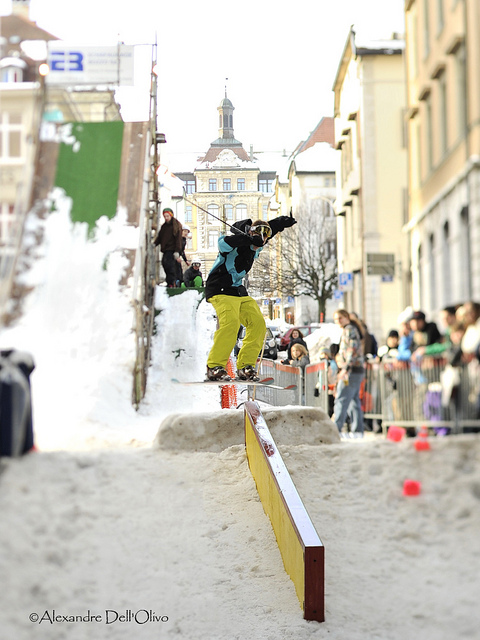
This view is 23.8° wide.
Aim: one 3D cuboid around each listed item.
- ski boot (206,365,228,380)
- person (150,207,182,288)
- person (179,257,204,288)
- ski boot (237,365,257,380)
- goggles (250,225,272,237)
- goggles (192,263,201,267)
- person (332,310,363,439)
[{"bbox_3d":[-0.247,0.542,11.669,0.211,0.142,0.130,3,-3,3],"label":"ski boot"},{"bbox_3d":[-1.219,-1.190,18.826,0.460,1.285,0.392,3,-3,-6],"label":"person"},{"bbox_3d":[-0.926,-0.888,21.710,0.351,0.547,1.006,3,-3,-1],"label":"person"},{"bbox_3d":[0.059,0.538,11.710,0.162,0.199,0.105,-11,19,10],"label":"ski boot"},{"bbox_3d":[0.228,-0.872,11.151,0.157,0.089,0.309,1,-4,38],"label":"goggles"},{"bbox_3d":[-0.856,-1.038,21.798,0.104,0.088,0.101,-34,16,-33],"label":"goggles"},{"bbox_3d":[1.194,0.596,12.663,0.344,1.401,0.574,2,-3,6],"label":"person"}]
